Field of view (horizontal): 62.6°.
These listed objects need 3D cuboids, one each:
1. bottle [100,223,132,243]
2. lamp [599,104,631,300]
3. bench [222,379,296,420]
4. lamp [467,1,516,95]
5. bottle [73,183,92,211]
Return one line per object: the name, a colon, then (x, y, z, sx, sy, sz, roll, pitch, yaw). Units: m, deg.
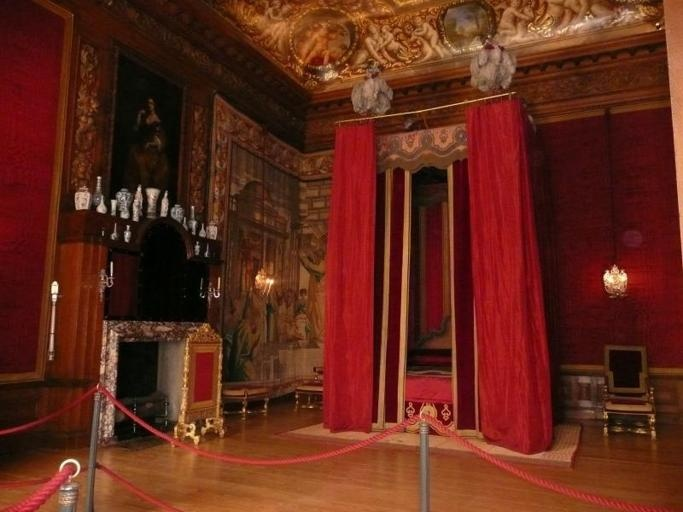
bottle: (-3.095, -0.330, 7.735, 0.084, 0.274, 0.462, -6, -11, 29)
lamp: (4.692, -0.932, 9.848, 0.422, 3.331, 0.224, -5, -10, 25)
bench: (-1.529, 2.579, 10.392, 0.716, 0.541, 2.256, -4, -10, 20)
lamp: (2.182, -2.751, 8.100, 0.617, 0.794, 0.343, -3, -10, 17)
bottle: (-3.511, -0.781, 7.617, 0.224, 0.449, 0.453, 4, -10, -25)
